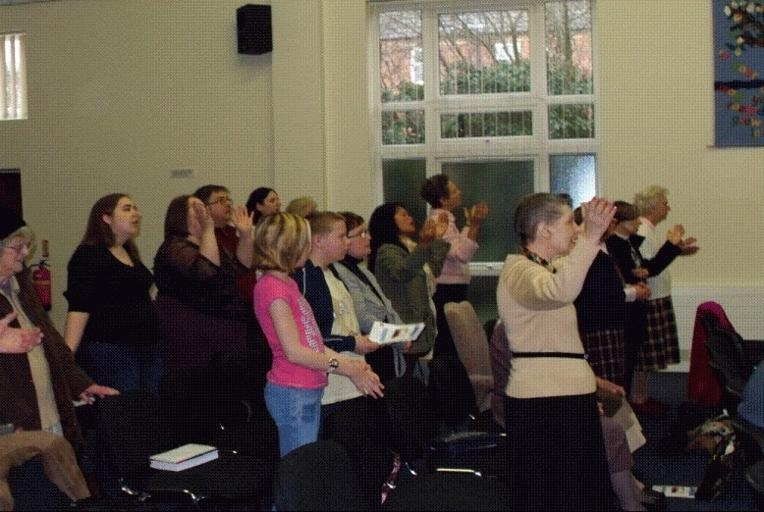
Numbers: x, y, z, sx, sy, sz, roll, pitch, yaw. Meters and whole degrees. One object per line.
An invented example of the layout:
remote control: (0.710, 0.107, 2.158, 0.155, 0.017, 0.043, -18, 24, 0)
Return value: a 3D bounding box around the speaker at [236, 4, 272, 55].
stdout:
speaker: (-0.631, -1.115, 3.792, 0.210, 0.275, 0.141, 1, 3, 11)
